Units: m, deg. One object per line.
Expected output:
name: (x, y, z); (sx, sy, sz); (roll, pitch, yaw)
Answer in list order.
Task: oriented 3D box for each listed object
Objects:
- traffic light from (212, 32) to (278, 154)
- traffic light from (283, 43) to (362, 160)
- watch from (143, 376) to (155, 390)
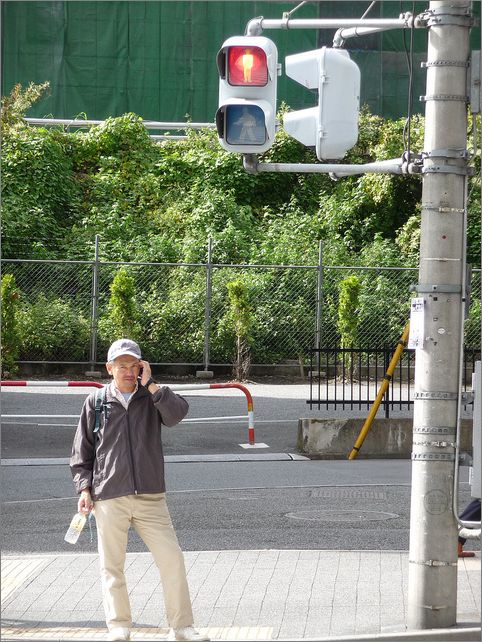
traffic light: (0.038, -1.462, 7.206); (0.401, 0.716, 0.203); (-1, 4, -1)
traffic light: (0.508, -1.330, 7.046); (0.433, 0.747, 0.364); (0, -7, 17)
watch: (-0.535, 0.357, 6.702); (0.048, 0.073, 0.065); (41, 28, 19)
